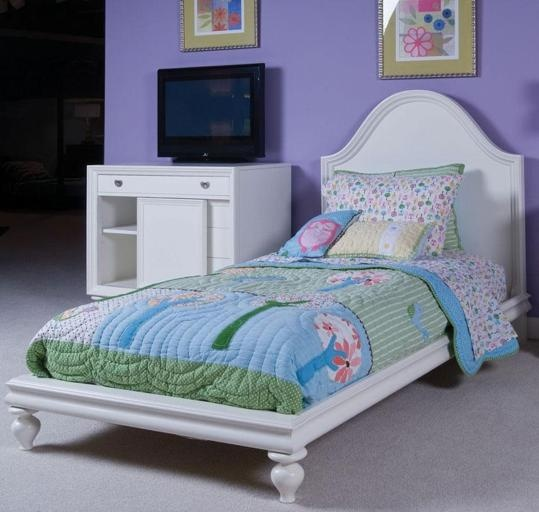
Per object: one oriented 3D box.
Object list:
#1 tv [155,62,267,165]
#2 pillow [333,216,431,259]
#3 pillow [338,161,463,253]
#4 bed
[{"bbox_3d":[-0.471,-0.967,3.796,0.167,0.644,0.962,19,24,38],"label":"tv"},{"bbox_3d":[0.548,-0.084,2.802,0.461,0.182,0.238,3,6,30],"label":"pillow"},{"bbox_3d":[0.761,-0.267,3.284,0.809,0.495,0.105,6,13,41],"label":"pillow"},{"bbox_3d":[0.039,-0.171,2.633,1.517,1.467,2.496,4,7,38],"label":"bed"}]
